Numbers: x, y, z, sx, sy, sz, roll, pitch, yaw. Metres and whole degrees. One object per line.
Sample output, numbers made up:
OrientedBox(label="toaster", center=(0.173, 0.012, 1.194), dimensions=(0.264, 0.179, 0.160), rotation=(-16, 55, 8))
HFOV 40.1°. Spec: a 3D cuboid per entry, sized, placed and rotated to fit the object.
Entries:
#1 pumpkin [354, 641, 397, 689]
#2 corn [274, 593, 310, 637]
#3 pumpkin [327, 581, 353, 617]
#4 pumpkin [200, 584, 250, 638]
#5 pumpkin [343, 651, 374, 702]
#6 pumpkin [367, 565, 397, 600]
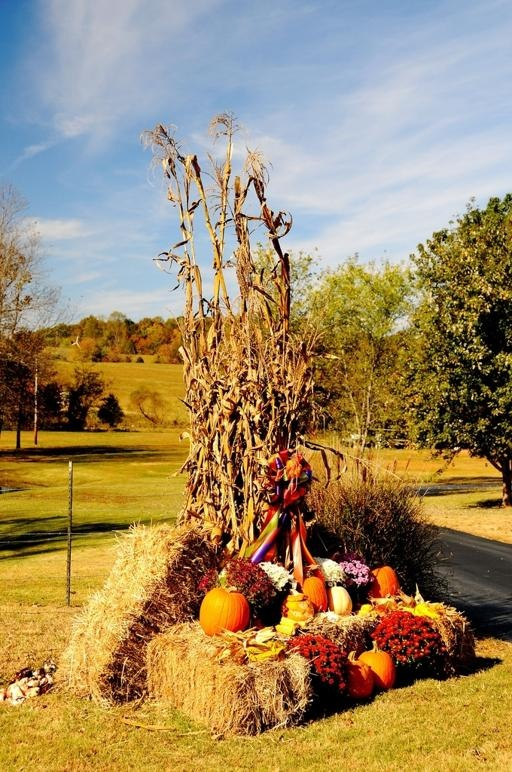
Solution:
OrientedBox(label="pumpkin", center=(1.052, 2.373, 5.934), dimensions=(0.335, 0.471, 0.349), rotation=(-8, -4, 12))
OrientedBox(label="corn", center=(0.318, 1.920, 5.835), dimensions=(0.286, 0.263, 0.447), rotation=(-1, -3, 19))
OrientedBox(label="pumpkin", center=(0.790, 1.957, 6.358), dimensions=(0.234, 0.317, 0.226), rotation=(-8, 2, -40))
OrientedBox(label="pumpkin", center=(-0.254, 1.808, 5.591), dimensions=(0.349, 0.411, 0.342), rotation=(4, -1, 1))
OrientedBox(label="pumpkin", center=(0.860, 2.394, 5.712), dimensions=(0.272, 0.320, 0.259), rotation=(0, -3, -4))
OrientedBox(label="pumpkin", center=(1.293, 1.976, 6.983), dimensions=(0.244, 0.294, 0.259), rotation=(3, -14, -8))
